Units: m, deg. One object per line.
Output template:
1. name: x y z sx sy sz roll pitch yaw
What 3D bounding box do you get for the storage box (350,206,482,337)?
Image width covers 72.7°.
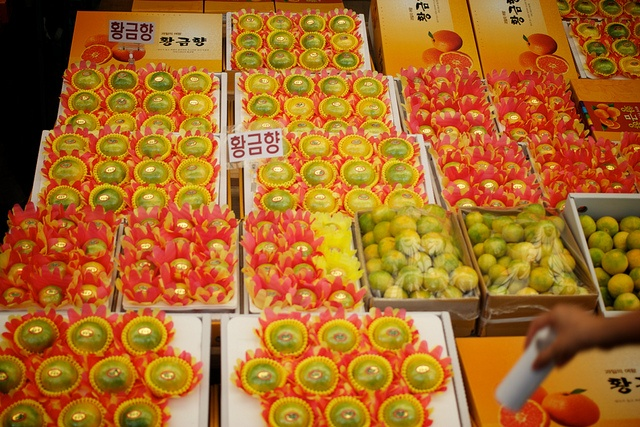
1. storage box: 0.636 0.413 2.656 0.665 0.290 0.673 -1 50 -5

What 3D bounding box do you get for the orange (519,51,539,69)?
1. orange: 2.042 -1.495 4.267 0.184 0.095 0.179 -4 64 5

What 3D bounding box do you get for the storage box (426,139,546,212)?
1. storage box: 1.356 -0.329 3.588 1.071 1.209 0.367 -2 78 34

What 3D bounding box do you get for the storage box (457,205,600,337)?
1. storage box: 1.198 0.394 2.804 0.746 0.442 0.717 -1 57 -2
